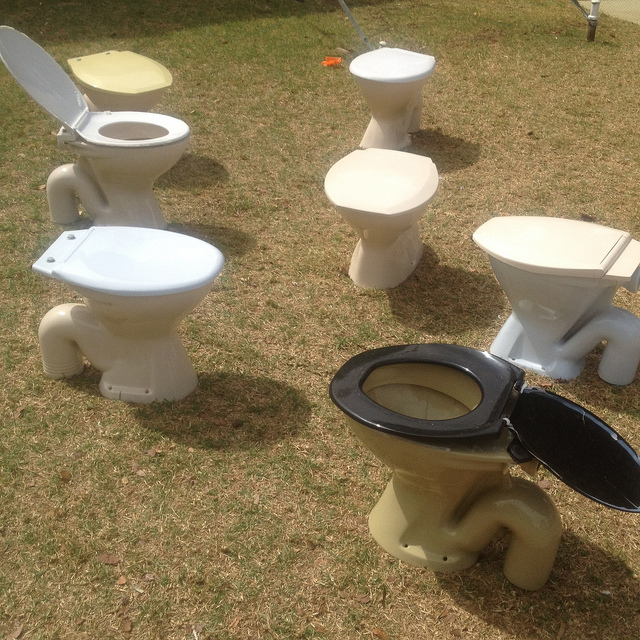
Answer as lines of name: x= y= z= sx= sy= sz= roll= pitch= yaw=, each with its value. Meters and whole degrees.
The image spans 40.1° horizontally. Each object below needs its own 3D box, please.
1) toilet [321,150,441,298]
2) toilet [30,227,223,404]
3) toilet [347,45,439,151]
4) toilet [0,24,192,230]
toilet: x=0.282 y=-0.449 z=3.925 sx=0.465 sy=0.477 sz=0.537 roll=15 pitch=44 yaw=20
toilet: x=-0.706 y=0.007 z=3.233 sx=0.719 sy=0.518 sz=0.501 roll=6 pitch=26 yaw=7
toilet: x=0.417 y=-1.255 z=5.035 sx=0.424 sy=0.453 sz=0.503 roll=18 pitch=38 yaw=26
toilet: x=-0.966 y=-0.855 z=3.979 sx=0.726 sy=1.046 sz=0.504 roll=-7 pitch=42 yaw=-8
